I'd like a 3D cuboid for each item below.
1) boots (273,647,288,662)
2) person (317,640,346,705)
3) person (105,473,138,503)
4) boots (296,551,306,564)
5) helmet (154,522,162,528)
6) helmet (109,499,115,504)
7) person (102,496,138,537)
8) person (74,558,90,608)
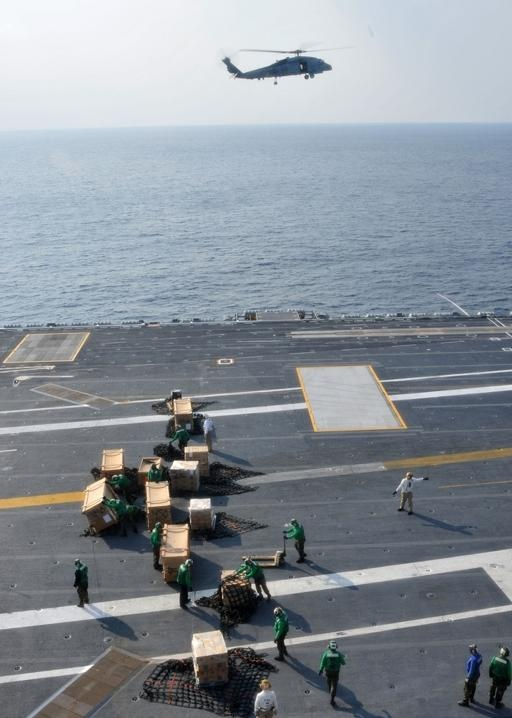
[{"bbox_3d":[0.637,7.535,20.355,0.298,0.423,0.348,-9,26,-19],"label":"boots"},{"bbox_3d":[1.802,7.366,18.839,0.529,1.726,0.533,5,21,7],"label":"person"},{"bbox_3d":[-4.712,4.532,27.850,0.798,0.951,0.389,-22,38,0],"label":"person"},{"bbox_3d":[1.414,6.101,24.503,0.241,0.370,0.396,9,23,-7],"label":"boots"},{"bbox_3d":[-2.970,5.094,24.339,0.228,0.114,0.277,-5,-2,0],"label":"helmet"},{"bbox_3d":[-4.701,4.684,26.355,0.212,0.132,0.443,-2,18,-12],"label":"helmet"},{"bbox_3d":[-4.445,5.136,26.408,1.004,1.162,0.974,-2,20,-11],"label":"person"},{"bbox_3d":[-4.879,6.175,22.397,0.371,1.640,0.706,-3,21,-13],"label":"person"}]
